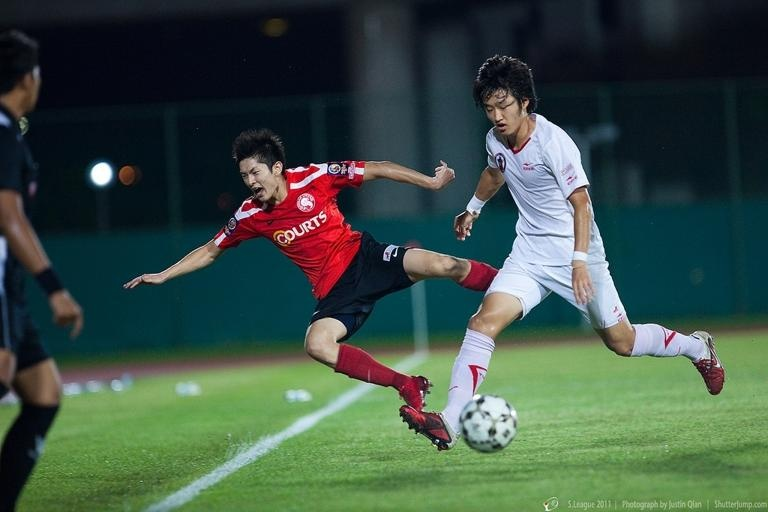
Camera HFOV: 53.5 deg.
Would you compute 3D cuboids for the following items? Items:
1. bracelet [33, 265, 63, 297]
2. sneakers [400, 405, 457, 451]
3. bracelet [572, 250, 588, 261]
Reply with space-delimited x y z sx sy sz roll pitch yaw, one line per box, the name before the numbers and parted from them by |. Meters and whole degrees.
bracelet | -2.376 0.179 5.386 0.173 0.225 0.147 -3 1 -26
sneakers | 0.372 1.475 6.458 0.211 0.421 0.154 -40 -13 -48
bracelet | 1.599 0.000 6.216 0.080 0.061 0.080 1 -4 -24
